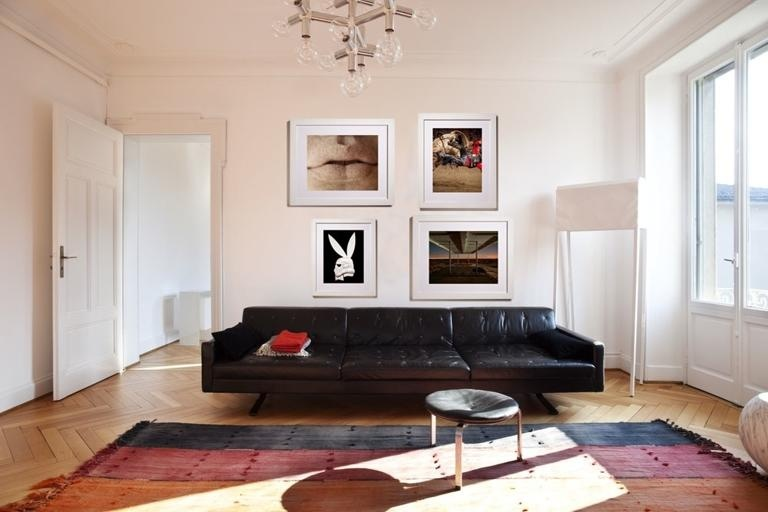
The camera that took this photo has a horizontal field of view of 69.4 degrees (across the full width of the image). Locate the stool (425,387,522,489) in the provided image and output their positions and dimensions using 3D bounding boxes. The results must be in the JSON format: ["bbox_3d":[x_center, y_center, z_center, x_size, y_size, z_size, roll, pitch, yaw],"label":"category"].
[{"bbox_3d":[0.870,1.669,5.184,0.903,0.731,0.537,-3,2,-16],"label":"stool"}]

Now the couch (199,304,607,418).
[{"bbox_3d":[0.278,1.168,6.374,4.216,1.152,0.918,-2,2,-1],"label":"couch"}]

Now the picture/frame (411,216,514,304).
[{"bbox_3d":[0.973,0.036,7.174,1.488,0.943,0.048,0,4,0],"label":"picture/frame"}]

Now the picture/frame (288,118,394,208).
[{"bbox_3d":[-0.577,-1.208,7.182,1.527,0.963,0.095,0,-1,-1],"label":"picture/frame"}]
